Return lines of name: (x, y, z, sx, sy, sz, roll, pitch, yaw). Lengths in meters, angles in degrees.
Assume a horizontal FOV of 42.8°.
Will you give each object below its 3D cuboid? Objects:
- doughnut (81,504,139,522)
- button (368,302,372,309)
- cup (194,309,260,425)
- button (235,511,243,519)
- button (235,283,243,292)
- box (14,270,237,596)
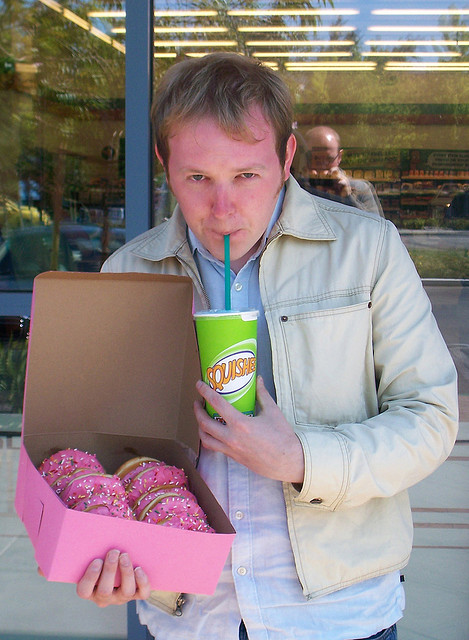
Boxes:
doughnut: (-0.202, 0.321, 1.006, 0.069, 0.022, 0.069, 3, -8, 30)
button: (0.275, -0.031, 1.222, 0.009, 0.009, 0.003, -15, 33, -18)
cup: (-0.012, 0.078, 1.093, 0.117, 0.200, 0.087, -1, 11, -8)
button: (0.008, 0.394, 1.207, 0.015, 0.014, 0.004, 3, -4, -7)
button: (0.008, -0.072, 1.324, 0.019, 0.018, 0.004, 2, -6, -7)
box: (-0.206, 0.185, 1.091, 0.360, 0.419, 0.493, 7, 21, -20)
